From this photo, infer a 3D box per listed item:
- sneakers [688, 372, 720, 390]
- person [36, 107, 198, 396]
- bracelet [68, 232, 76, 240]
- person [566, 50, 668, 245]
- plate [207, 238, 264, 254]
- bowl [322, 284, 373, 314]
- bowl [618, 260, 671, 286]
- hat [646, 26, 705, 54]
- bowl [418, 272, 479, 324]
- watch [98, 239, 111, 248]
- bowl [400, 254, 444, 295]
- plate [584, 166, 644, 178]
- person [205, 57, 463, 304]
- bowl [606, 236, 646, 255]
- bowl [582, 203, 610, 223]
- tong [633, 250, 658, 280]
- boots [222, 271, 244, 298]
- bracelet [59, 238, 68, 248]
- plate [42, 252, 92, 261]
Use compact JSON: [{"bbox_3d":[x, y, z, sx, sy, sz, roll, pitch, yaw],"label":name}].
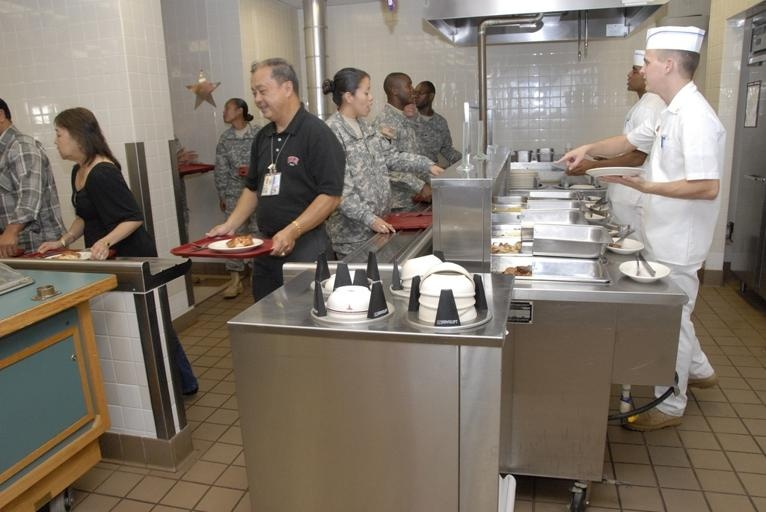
[{"bbox_3d":[2.185,0.872,3.528,0.254,0.111,0.087,-2,10,22],"label":"sneakers"},{"bbox_3d":[-1.904,0.040,3.567,1.085,2.025,0.796,-3,6,-8],"label":"person"},{"bbox_3d":[-2.235,-0.144,3.684,0.034,0.046,0.025,-16,20,-41],"label":"bracelet"},{"bbox_3d":[2.101,-0.677,4.467,0.667,2.059,0.634,2,23,28],"label":"person"},{"bbox_3d":[-0.845,-0.072,2.895,0.333,0.045,0.214,7,22,27],"label":"plate"},{"bbox_3d":[-0.133,0.171,1.963,0.173,0.073,0.123,-5,19,-8],"label":"bowl"},{"bbox_3d":[1.368,0.080,2.652,0.230,0.083,0.209,-3,19,1],"label":"bowl"},{"bbox_3d":[1.739,-1.286,3.038,0.214,0.115,0.258,-19,30,-28],"label":"hat"},{"bbox_3d":[0.237,0.148,1.827,0.169,0.150,0.193,0,-1,0],"label":"bowl"},{"bbox_3d":[-1.776,-0.082,3.265,0.043,0.022,0.060,-13,20,-1],"label":"watch"},{"bbox_3d":[0.152,0.055,2.160,0.165,0.131,0.140,-17,20,-12],"label":"bowl"},{"bbox_3d":[1.365,-0.501,3.001,0.192,0.033,0.190,-1,2,-27],"label":"plate"},{"bbox_3d":[-0.639,-0.421,3.143,0.743,1.513,0.572,6,21,24],"label":"person"},{"bbox_3d":[1.473,-0.073,3.057,0.176,0.068,0.283,12,24,36],"label":"bowl"},{"bbox_3d":[1.464,-0.282,3.486,0.160,0.085,0.220,1,24,11],"label":"bowl"},{"bbox_3d":[1.400,0.052,2.703,0.047,0.049,0.200,-5,21,11],"label":"tong"},{"bbox_3d":[-1.728,0.349,5.890,0.144,0.174,0.433,0,5,1],"label":"boots"},{"bbox_3d":[-2.246,-0.095,3.617,0.056,0.076,0.062,-8,-9,38],"label":"bracelet"},{"bbox_3d":[-1.899,0.000,3.120,0.122,0.047,0.222,3,3,35],"label":"plate"}]
